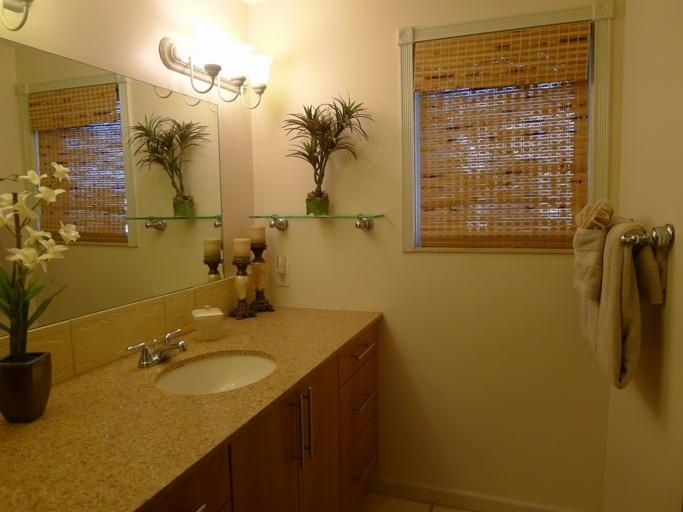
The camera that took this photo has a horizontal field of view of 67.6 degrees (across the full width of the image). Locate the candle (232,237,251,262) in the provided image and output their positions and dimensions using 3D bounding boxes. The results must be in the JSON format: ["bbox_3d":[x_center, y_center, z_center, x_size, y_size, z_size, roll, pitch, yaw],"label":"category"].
[{"bbox_3d":[-0.524,-0.032,2.714,0.096,0.123,0.102,1,3,-11],"label":"candle"}]

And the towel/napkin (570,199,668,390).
[{"bbox_3d":[1.006,0.129,1.864,0.232,0.625,0.486,1,12,7],"label":"towel/napkin"}]

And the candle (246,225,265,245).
[{"bbox_3d":[-0.467,-0.111,2.807,0.085,0.108,0.091,1,5,-3],"label":"candle"}]

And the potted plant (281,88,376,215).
[{"bbox_3d":[-0.087,-0.552,2.817,0.522,0.630,0.260,1,11,5],"label":"potted plant"}]
